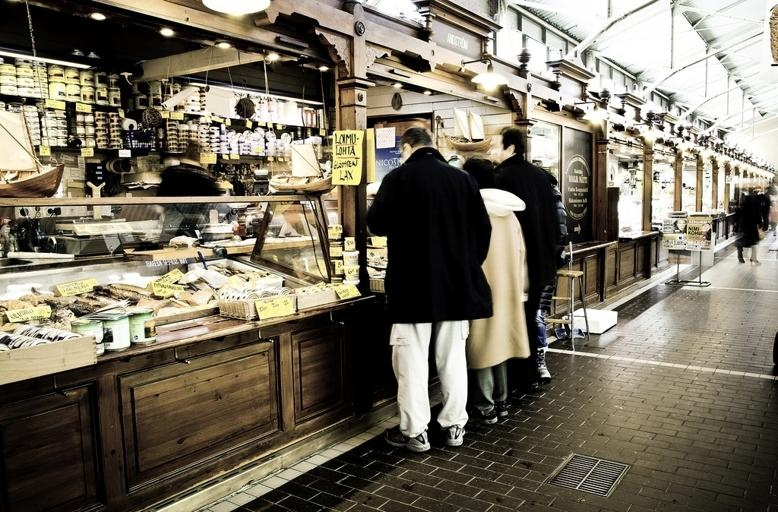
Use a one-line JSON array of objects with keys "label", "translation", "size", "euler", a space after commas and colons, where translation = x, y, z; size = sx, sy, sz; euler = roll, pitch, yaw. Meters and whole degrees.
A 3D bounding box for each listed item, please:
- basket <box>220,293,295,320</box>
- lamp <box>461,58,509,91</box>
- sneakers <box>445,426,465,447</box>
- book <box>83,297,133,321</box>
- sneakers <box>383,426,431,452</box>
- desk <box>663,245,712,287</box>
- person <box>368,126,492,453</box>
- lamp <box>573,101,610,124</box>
[{"label": "basket", "translation": [-1.074, 0.445, 4.721], "size": [0.302, 0.111, 0.389], "euler": [0, 2, 32]}, {"label": "lamp", "translation": [1.296, -2.521, 7.314], "size": [0.546, 0.438, 1.236], "euler": [0, 10, 9]}, {"label": "sneakers", "translation": [0.629, 1.717, 5.092], "size": [0.113, 0.109, 0.275], "euler": [0, 3, 14]}, {"label": "book", "translation": [-2.093, 0.418, 4.110], "size": [0.311, 0.065, 0.480], "euler": [-1, 10, 2]}, {"label": "sneakers", "translation": [0.155, 1.724, 5.091], "size": [0.461, 0.180, 0.180], "euler": [7, 3, 35]}, {"label": "desk", "translation": [7.077, 0.246, 12.616], "size": [0.944, 0.837, 1.718], "euler": [4, 12, 27]}, {"label": "person", "translation": [0.417, 0.345, 5.015], "size": [1.052, 2.894, 0.639], "euler": [-6, 13, -19]}, {"label": "lamp", "translation": [3.852, -2.733, 10.133], "size": [0.524, 0.296, 0.678], "euler": [-1, -1, -42]}]
